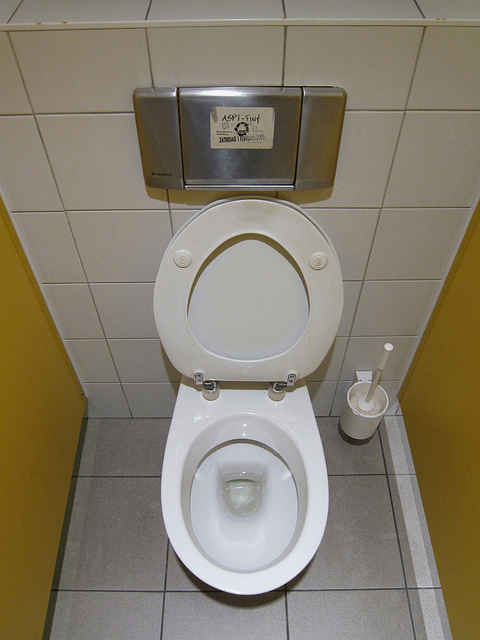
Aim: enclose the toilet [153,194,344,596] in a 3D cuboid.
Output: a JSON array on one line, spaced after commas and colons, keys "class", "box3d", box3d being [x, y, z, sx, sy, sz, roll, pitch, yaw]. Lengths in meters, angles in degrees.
[{"class": "toilet", "box3d": [0.000, 0.188, 0.946, 0.382, 0.664, 0.557, 5, 49, 4]}]
